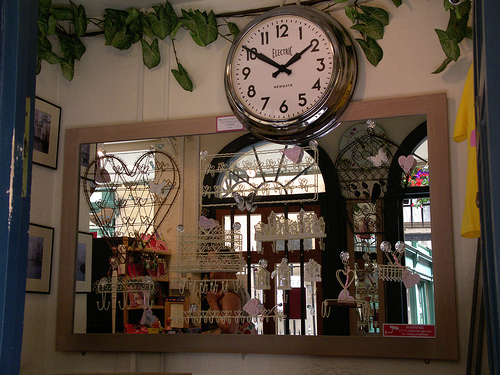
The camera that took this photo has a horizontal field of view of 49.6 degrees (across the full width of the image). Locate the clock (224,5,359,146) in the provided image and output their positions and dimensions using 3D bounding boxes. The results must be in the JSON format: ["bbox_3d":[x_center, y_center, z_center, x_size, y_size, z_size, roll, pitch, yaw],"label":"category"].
[{"bbox_3d":[0.229,-0.546,2.673,0.492,0.574,0.078,-17,-15,13],"label":"clock"}]

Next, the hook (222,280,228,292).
[{"bbox_3d":[-0.125,0.481,2.646,0.028,0.052,0.006,-4,-14,16],"label":"hook"}]

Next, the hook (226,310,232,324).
[{"bbox_3d":[-0.102,0.625,2.630,0.024,0.064,0.020,0,-13,3],"label":"hook"}]

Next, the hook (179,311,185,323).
[{"bbox_3d":[-0.339,0.635,2.673,0.030,0.056,0.009,-6,-14,25],"label":"hook"}]

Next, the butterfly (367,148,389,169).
[{"bbox_3d":[0.612,-0.143,2.564,0.120,0.082,0.038,-3,8,-14],"label":"butterfly"}]

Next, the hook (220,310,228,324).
[{"bbox_3d":[-0.128,0.625,2.635,0.030,0.068,0.010,1,-2,7],"label":"hook"}]

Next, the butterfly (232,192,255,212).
[{"bbox_3d":[-0.030,0.070,2.682,0.079,0.082,0.010,-1,-11,7],"label":"butterfly"}]

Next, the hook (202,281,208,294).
[{"bbox_3d":[-0.225,0.491,2.666,0.028,0.059,0.003,-2,-13,10],"label":"hook"}]

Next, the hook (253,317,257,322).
[{"bbox_3d":[0.021,0.630,2.594,0.018,0.022,0.004,0,-4,24],"label":"hook"}]

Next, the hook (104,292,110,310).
[{"bbox_3d":[-0.736,0.581,2.772,0.034,0.077,0.018,-1,-13,4],"label":"hook"}]

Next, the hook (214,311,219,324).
[{"bbox_3d":[-0.166,0.628,2.642,0.022,0.055,0.016,0,-13,0],"label":"hook"}]

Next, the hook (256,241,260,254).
[{"bbox_3d":[0.036,0.291,2.641,0.027,0.059,0.011,-2,-7,17],"label":"hook"}]

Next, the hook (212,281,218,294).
[{"bbox_3d":[-0.171,0.495,2.655,0.022,0.047,0.003,-3,-14,15],"label":"hook"}]

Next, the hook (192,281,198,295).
[{"bbox_3d":[-0.274,0.494,2.672,0.027,0.064,0.006,-3,-13,13],"label":"hook"}]

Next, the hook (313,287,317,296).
[{"bbox_3d":[0.305,0.485,2.542,0.027,0.033,0.027,0,-7,18],"label":"hook"}]

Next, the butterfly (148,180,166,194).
[{"bbox_3d":[-0.484,-0.007,2.801,0.100,0.075,0.012,-6,-15,24],"label":"butterfly"}]

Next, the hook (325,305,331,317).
[{"bbox_3d":[0.366,0.580,2.530,0.021,0.046,0.011,-2,-13,9],"label":"hook"}]

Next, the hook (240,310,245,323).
[{"bbox_3d":[-0.038,0.619,2.614,0.017,0.059,0.020,10,-16,-35],"label":"hook"}]

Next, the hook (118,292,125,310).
[{"bbox_3d":[-0.655,0.577,2.754,0.036,0.079,0.020,-7,-15,29],"label":"hook"}]

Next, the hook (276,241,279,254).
[{"bbox_3d":[0.132,0.288,2.627,0.012,0.052,0.004,2,-13,-6],"label":"hook"}]

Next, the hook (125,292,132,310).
[{"bbox_3d":[-0.621,0.573,2.747,0.034,0.084,0.021,2,-13,-6],"label":"hook"}]

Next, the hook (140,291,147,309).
[{"bbox_3d":[-0.537,0.565,2.724,0.040,0.069,0.010,-5,-14,21],"label":"hook"}]
